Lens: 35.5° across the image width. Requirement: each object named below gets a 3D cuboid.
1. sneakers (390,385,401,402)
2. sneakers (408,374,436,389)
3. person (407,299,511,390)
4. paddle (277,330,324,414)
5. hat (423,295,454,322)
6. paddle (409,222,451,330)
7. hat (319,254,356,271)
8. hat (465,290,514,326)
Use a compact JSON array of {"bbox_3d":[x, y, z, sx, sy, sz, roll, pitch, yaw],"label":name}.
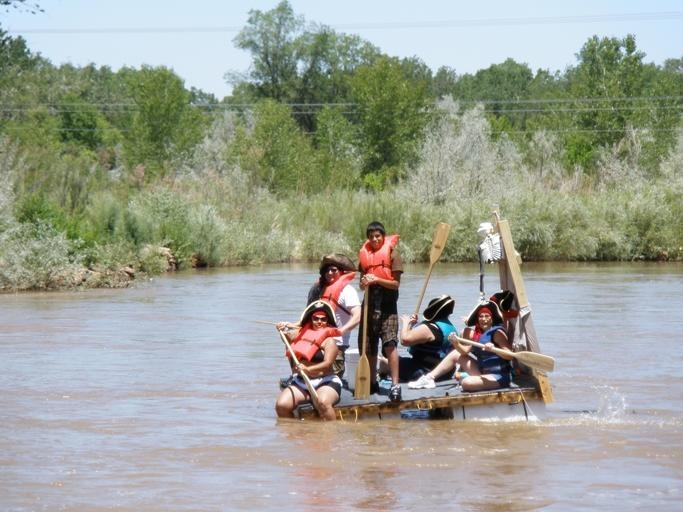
[{"bbox_3d":[0.718,1.771,13.961,0.158,0.170,0.314,0,8,2],"label":"sneakers"},{"bbox_3d":[1.113,1.721,14.563,0.404,0.201,0.155,0,-5,-4],"label":"sneakers"},{"bbox_3d":[1.579,1.258,14.468,1.419,1.387,0.942,5,-9,-12],"label":"person"},{"bbox_3d":[-0.532,1.544,14.049,0.248,0.933,0.899,-4,9,-22],"label":"paddle"},{"bbox_3d":[1.363,0.759,14.952,0.389,0.150,0.339,-41,6,34],"label":"hat"},{"bbox_3d":[1.945,0.337,23.775,0.325,2.956,0.210,19,14,9],"label":"paddle"},{"bbox_3d":[-0.042,0.081,14.576,0.473,0.223,0.296,0,8,-4],"label":"hat"},{"bbox_3d":[2.125,0.669,14.621,0.431,0.251,0.592,16,31,32],"label":"hat"}]
